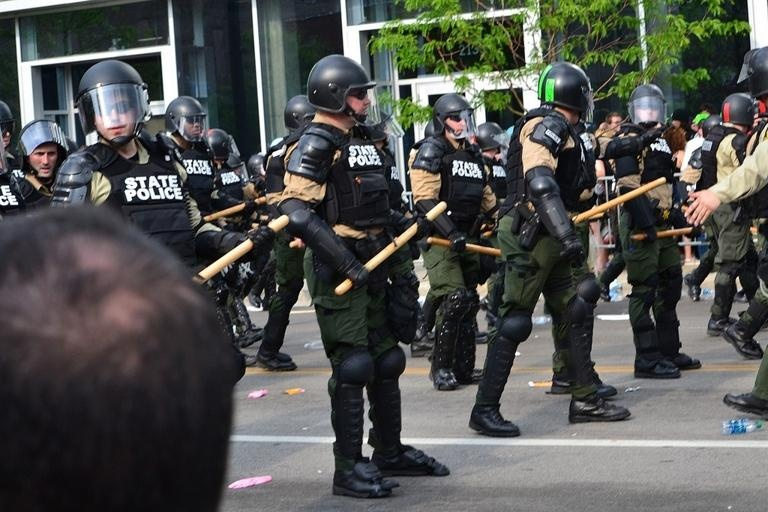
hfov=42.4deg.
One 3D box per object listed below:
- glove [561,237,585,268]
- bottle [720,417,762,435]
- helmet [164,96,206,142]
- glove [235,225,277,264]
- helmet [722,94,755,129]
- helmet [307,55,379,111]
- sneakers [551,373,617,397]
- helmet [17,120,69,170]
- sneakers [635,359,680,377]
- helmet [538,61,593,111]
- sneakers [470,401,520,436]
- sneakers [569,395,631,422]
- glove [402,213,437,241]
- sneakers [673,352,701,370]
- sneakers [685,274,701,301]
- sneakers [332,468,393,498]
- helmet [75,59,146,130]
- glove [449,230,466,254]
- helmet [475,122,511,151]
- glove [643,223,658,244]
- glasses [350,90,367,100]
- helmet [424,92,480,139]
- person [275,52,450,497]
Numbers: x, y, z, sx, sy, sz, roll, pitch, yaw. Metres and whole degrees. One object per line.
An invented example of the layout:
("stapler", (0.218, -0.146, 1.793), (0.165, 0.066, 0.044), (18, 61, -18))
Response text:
("glove", (1.266, -0.026, 6.613), (0.138, 0.194, 0.075), (7, 55, 28))
("bottle", (2.446, 1.145, 6.768), (0.222, 0.078, 0.121), (-3, 40, 3))
("helmet", (-1.997, -1.437, 10.485), (0.489, 0.446, 0.394), (6, 12, 25))
("glove", (-0.775, -0.093, 5.781), (0.234, 0.179, 0.076), (-32, 48, -8))
("helmet", (3.505, -1.471, 9.916), (0.330, 0.358, 0.402), (11, 22, 41))
("helmet", (-0.256, -1.063, 6.124), (0.395, 0.304, 0.328), (0, 10, 1))
("sneakers", (1.555, 1.050, 8.025), (0.603, 0.261, 0.206), (-3, -1, 25))
("helmet", (-2.884, -0.908, 8.419), (0.396, 0.499, 0.437), (-4, 46, -24))
("sneakers", (2.341, 0.966, 8.518), (0.325, 0.135, 0.164), (-3, 1, 20))
("helmet", (1.300, -1.197, 7.157), (0.308, 0.316, 0.399), (7, 26, 24))
("sneakers", (0.770, 1.144, 7.065), (0.391, 0.257, 0.173), (0, 3, 5))
("sneakers", (1.554, 1.112, 7.358), (0.497, 0.255, 0.179), (-3, 4, 3))
("glove", (0.230, -0.191, 6.404), (0.136, 0.170, 0.101), (-3, 5, 17))
("sneakers", (2.649, 0.935, 8.776), (0.299, 0.133, 0.115), (2, -3, -2))
("sneakers", (3.877, 0.392, 12.443), (0.123, 0.312, 0.155), (-17, 14, 9))
("sneakers", (-0.146, 1.359, 5.998), (0.355, 0.170, 0.144), (0, 1, 17))
("helmet", (-1.583, -0.934, 5.844), (0.365, 0.337, 0.418), (-7, 5, -6))
("glove", (0.588, -0.113, 7.910), (0.120, 0.160, 0.055), (9, -2, 12))
("helmet", (1.163, -1.268, 10.500), (0.389, 0.307, 0.336), (-13, 13, -21))
("glove", (2.242, -0.183, 8.392), (0.102, 0.135, 0.132), (-2, 2, 4))
("glasses", (-0.151, -0.977, 6.039), (0.080, 0.030, 0.056), (-12, 4, 1))
("helmet", (0.620, -1.218, 8.768), (0.418, 0.342, 0.335), (0, 1, 38))
("person", (-0.155, 0.128, 6.076), (1.248, 2.320, 0.577), (15, 4, 3))
